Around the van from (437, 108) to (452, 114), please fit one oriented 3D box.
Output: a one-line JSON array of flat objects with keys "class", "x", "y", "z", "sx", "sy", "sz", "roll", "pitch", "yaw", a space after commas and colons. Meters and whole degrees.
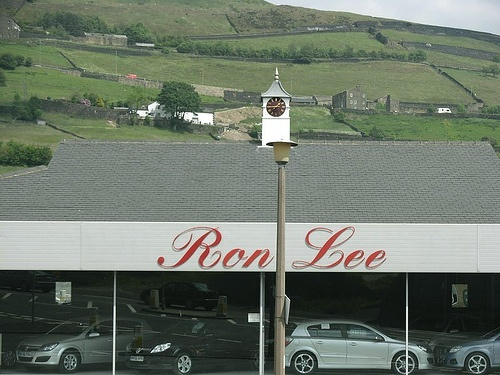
[{"class": "van", "x": 40.979, "y": -16.154, "z": 254.626, "sx": 2.254, "sy": 1.049, "sz": 1.540, "roll": -2, "pitch": 5, "yaw": -12}]
